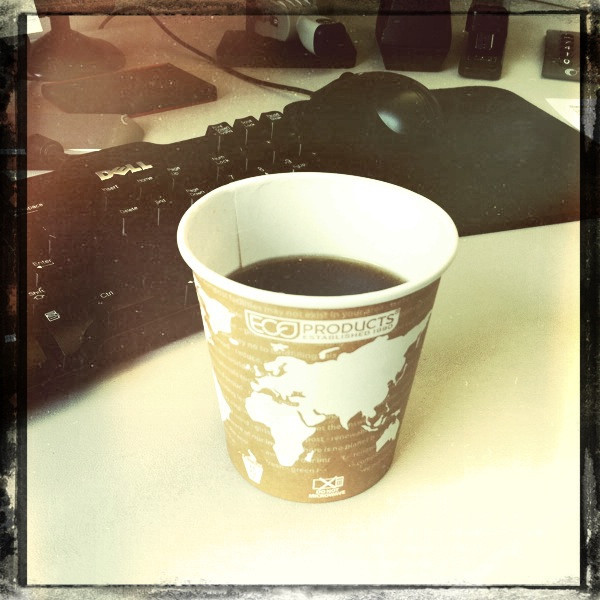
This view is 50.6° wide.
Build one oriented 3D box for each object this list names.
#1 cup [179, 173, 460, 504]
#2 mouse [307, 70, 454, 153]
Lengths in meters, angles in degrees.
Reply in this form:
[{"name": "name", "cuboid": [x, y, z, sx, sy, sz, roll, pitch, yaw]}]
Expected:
[{"name": "cup", "cuboid": [0.008, 0.026, 0.419, 0.154, 0.165, 0.179, -5, 27, -10]}, {"name": "mouse", "cuboid": [0.091, -0.190, 0.619, 0.101, 0.030, 0.102, 35, 45, 16]}]
